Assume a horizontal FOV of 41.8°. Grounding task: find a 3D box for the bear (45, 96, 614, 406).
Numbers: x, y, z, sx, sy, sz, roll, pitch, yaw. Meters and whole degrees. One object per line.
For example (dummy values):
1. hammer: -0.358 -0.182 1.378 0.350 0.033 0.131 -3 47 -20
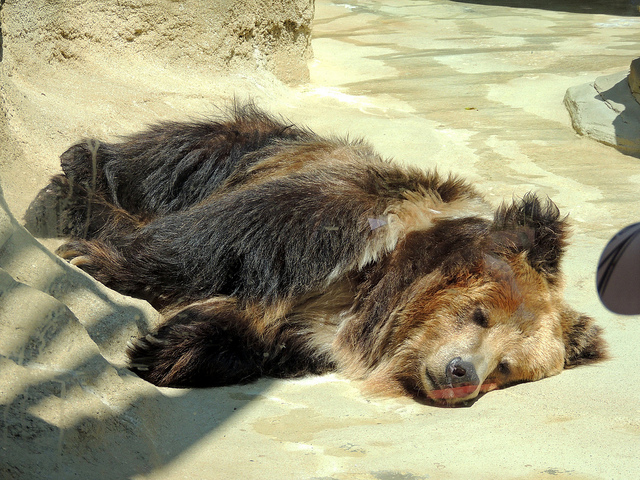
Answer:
1. bear: -0.146 0.066 5.416 2.386 0.986 3.149 -17 32 -30
